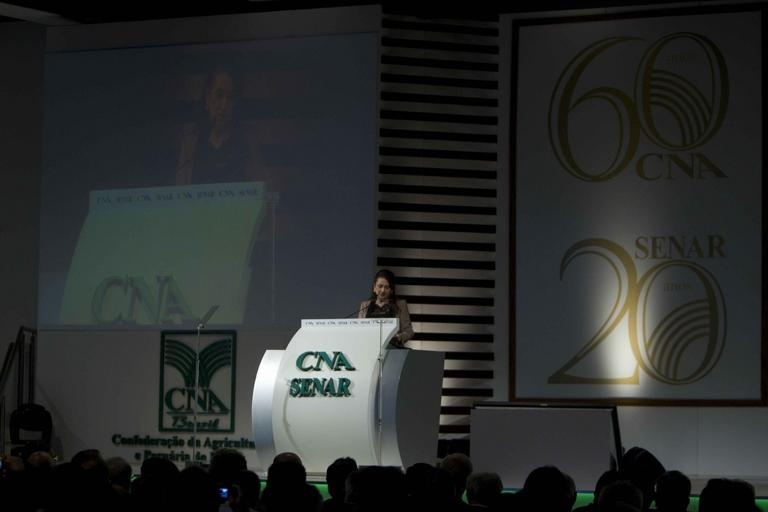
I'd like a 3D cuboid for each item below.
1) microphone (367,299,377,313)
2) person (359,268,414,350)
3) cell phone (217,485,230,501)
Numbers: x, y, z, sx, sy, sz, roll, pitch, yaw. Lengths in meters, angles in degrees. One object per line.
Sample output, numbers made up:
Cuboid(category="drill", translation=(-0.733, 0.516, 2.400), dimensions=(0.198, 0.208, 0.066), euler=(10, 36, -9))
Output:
Cuboid(category="microphone", translation=(-0.094, 0.453, 8.952), dimensions=(0.064, 0.166, 0.185), euler=(-1, -13, 6))
Cuboid(category="person", translation=(0.038, 0.504, 9.168), dimensions=(0.463, 0.829, 1.005), euler=(0, -13, 2))
Cuboid(category="cell phone", translation=(-1.231, 1.848, 7.712), dimensions=(0.116, 0.155, 0.084), euler=(2, -12, -13))
